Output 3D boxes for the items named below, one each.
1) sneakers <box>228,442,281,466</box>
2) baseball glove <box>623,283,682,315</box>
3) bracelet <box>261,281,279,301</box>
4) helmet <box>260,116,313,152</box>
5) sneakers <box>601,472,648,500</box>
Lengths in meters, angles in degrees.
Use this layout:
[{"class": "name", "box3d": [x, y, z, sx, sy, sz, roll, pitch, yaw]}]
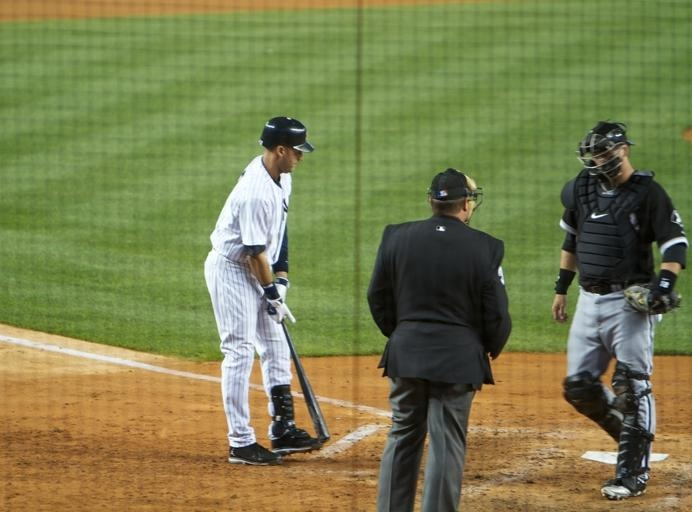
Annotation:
[{"class": "sneakers", "box3d": [-1.167, 2.511, 18.869, 0.585, 0.225, 0.267, 1, 0, 0]}, {"class": "baseball glove", "box3d": [3.724, 0.558, 18.188, 0.569, 0.164, 0.366, 13, -16, -5]}, {"class": "bracelet", "box3d": [-0.942, 0.445, 18.789, 0.215, 0.224, 0.147, -2, 1, -2]}, {"class": "helmet", "box3d": [-0.748, -1.525, 18.822, 0.637, 0.266, 0.394, 2, 25, 2]}, {"class": "sneakers", "box3d": [3.418, 2.839, 18.323, 0.587, 0.211, 0.242, -4, 10, -15]}]
